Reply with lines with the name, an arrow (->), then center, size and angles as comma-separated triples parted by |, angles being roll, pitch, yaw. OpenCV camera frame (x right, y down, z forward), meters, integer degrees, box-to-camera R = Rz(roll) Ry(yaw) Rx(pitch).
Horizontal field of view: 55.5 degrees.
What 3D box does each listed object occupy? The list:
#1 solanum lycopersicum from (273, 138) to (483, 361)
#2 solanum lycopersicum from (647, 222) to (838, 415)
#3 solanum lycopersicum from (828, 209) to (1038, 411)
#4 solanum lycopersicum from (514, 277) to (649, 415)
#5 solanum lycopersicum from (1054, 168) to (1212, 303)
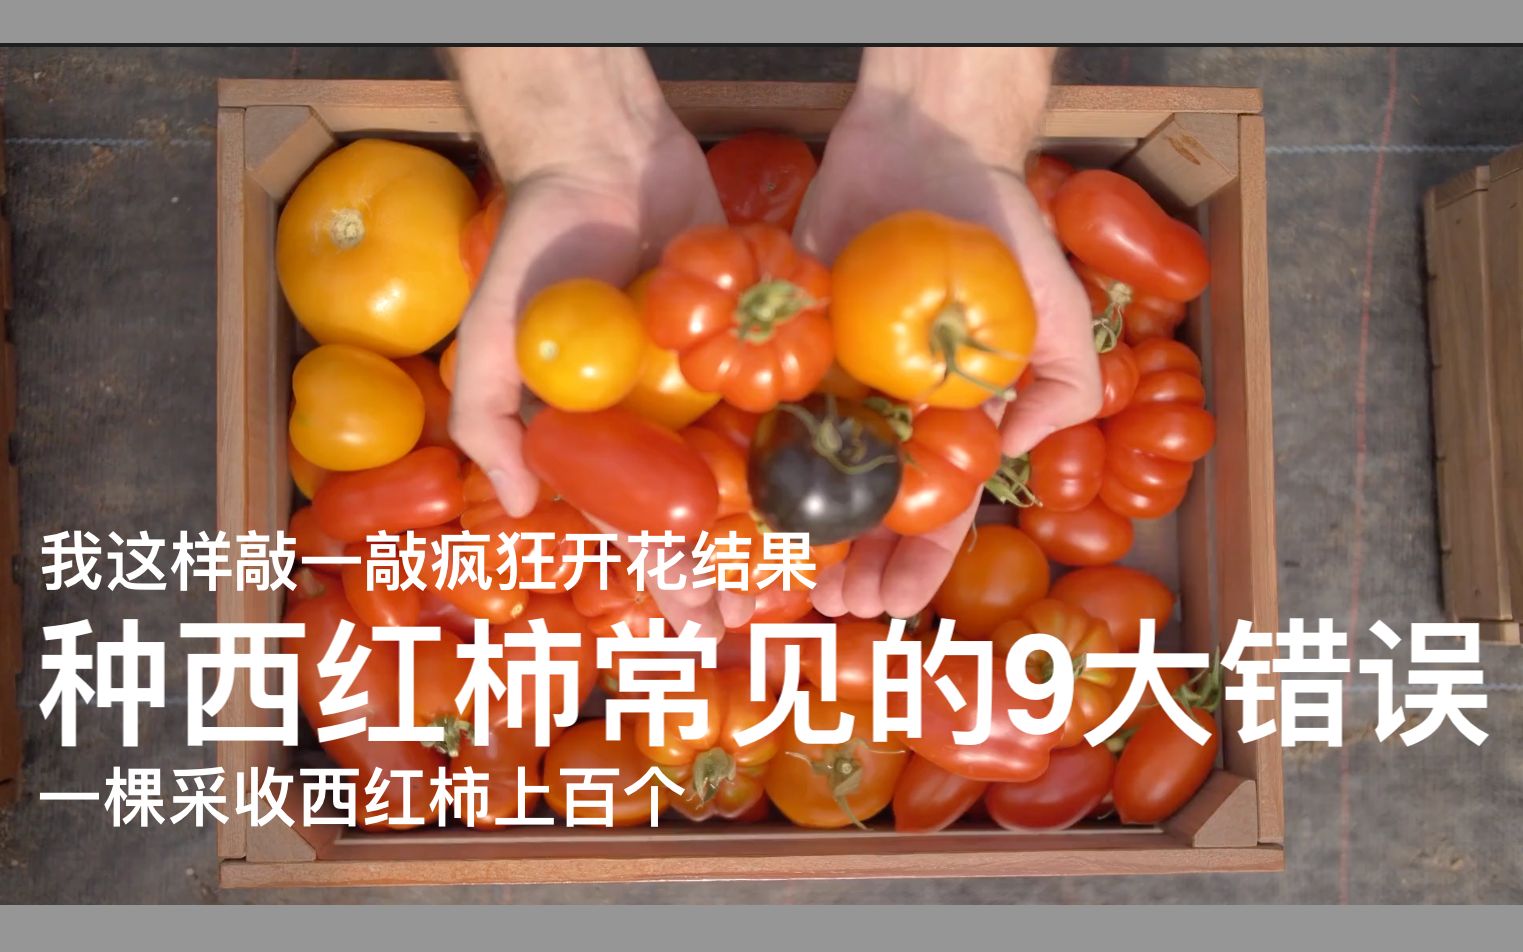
solanum lycopersicum -> -0.668, -0.400, 2.506 | 0.324, 0.084, 0.357 | 0, 83, 1
solanum lycopersicum -> 0.000, -0.228, 2.288 | 0.173, 0.247, 0.238 | -38, 122, -25
solanum lycopersicum -> 0.229, -0.292, 2.380 | 0.345, 0.402, 0.288 | 6, 106, -5
solanum lycopersicum -> -0.282, -0.206, 2.268 | 0.195, 0.121, 0.202 | 30, 85, 4
solanum lycopersicum -> 0.638, -0.418, 2.573 | 0.295, 0.153, 0.172 | 41, 83, -3
